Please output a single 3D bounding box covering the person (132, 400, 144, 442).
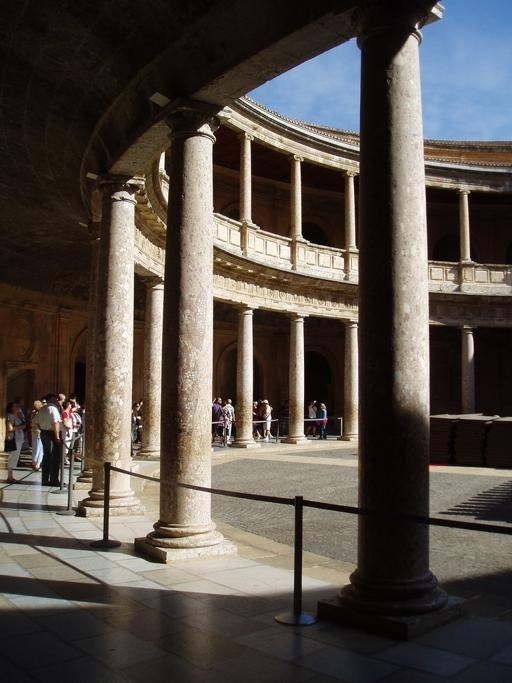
[{"bbox_3d":[-3.700,2.522,19.502,0.266,1.211,0.948,3,-7,-11],"label":"person"}]

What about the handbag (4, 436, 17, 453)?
[{"bbox_3d":[-4.093,1.723,10.474,0.102,0.273,0.270,-17,-15,37],"label":"handbag"}]
